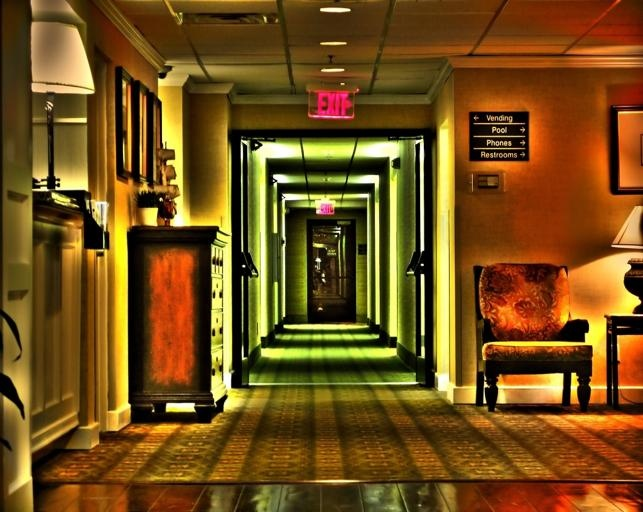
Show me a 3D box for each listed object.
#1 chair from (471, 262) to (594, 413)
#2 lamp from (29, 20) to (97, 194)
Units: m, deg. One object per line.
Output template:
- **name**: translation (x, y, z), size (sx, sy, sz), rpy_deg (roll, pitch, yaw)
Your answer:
- **chair**: translation (1.881, 0.705, 5.073), size (1.039, 1.186, 1.119), rpy_deg (-3, -7, 33)
- **lamp**: translation (-1.713, -1.021, 3.688), size (0.348, 1.208, 0.672), rpy_deg (-1, 2, -27)
